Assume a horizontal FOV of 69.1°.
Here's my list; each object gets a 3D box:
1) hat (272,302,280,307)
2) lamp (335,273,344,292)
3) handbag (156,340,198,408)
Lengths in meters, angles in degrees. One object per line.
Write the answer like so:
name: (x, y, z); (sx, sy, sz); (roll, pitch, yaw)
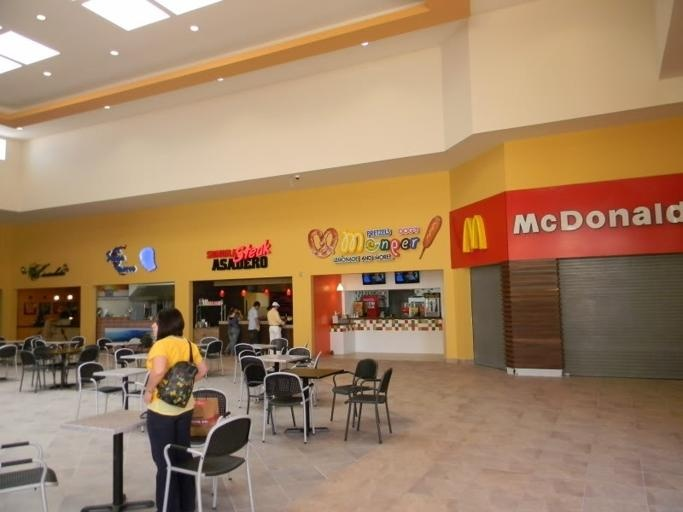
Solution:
hat: (-1.914, 1.385, 13.980); (0.270, 0.106, 0.200); (-4, -7, 35)
lamp: (-0.084, 0.883, 15.399); (0.189, 0.492, 0.381); (-1, -6, -21)
handbag: (-1.571, 1.143, 4.764); (0.369, 0.629, 0.151); (-1, -6, -20)
